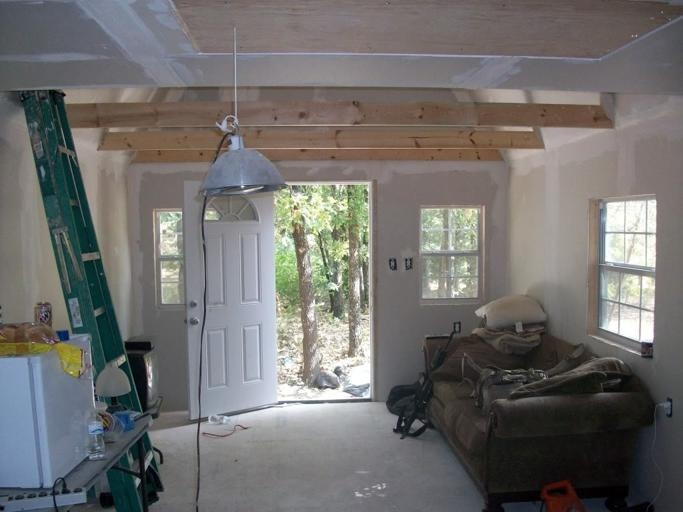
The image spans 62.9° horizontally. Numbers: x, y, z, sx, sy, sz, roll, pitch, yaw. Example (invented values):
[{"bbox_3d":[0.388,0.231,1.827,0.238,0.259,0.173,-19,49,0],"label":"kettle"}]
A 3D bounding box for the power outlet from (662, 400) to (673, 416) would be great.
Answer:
[{"bbox_3d":[2.525,1.170,4.305,0.015,0.152,0.086,-3,8,-21],"label":"power outlet"}]

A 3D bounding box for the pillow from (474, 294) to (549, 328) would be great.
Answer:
[{"bbox_3d":[1.851,0.603,6.009,0.387,0.130,0.415,-12,14,7],"label":"pillow"}]

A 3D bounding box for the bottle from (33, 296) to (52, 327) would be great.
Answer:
[{"bbox_3d":[-2.069,0.416,3.886,0.096,0.154,0.284,-5,9,-31],"label":"bottle"}]

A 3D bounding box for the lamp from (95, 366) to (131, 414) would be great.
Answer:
[{"bbox_3d":[-1.483,0.861,3.634,0.218,0.305,0.224,-16,-11,36],"label":"lamp"}]

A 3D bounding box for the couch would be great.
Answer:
[{"bbox_3d":[1.650,1.365,5.313,1.436,1.024,2.078,-1,7,-8],"label":"couch"}]
